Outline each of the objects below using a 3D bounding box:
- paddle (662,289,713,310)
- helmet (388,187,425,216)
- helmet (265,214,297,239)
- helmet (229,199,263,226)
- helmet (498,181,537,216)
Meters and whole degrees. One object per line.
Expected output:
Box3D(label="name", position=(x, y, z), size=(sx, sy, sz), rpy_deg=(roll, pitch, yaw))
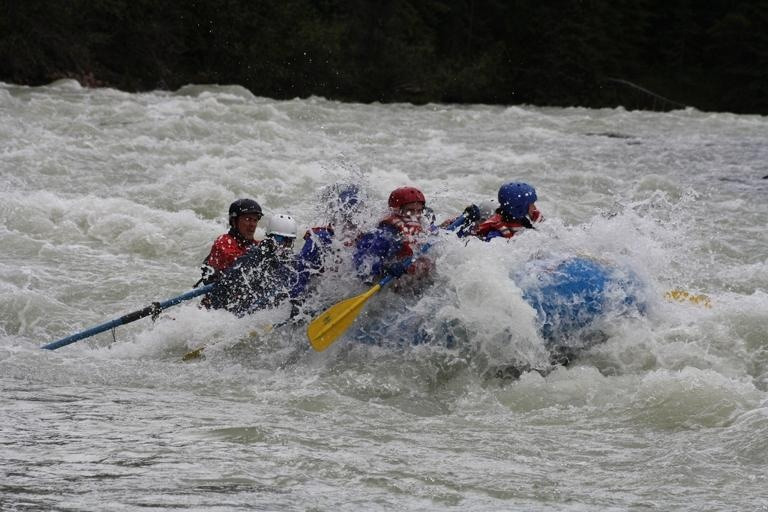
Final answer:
Box3D(label="paddle", position=(4.229, 0.582, 16.661), size=(0.621, 0.124, 0.376), rpy_deg=(10, 27, 5))
Box3D(label="helmet", position=(0.356, -0.755, 16.570), size=(0.513, 0.317, 0.332), rpy_deg=(5, -6, 10))
Box3D(label="helmet", position=(-1.462, -0.411, 17.370), size=(0.369, 0.292, 0.412), rpy_deg=(7, 14, -32))
Box3D(label="helmet", position=(-2.079, -0.648, 17.596), size=(0.373, 0.318, 0.460), rpy_deg=(1, 2, -44))
Box3D(label="helmet", position=(2.042, -0.810, 17.195), size=(0.687, 0.499, 0.481), rpy_deg=(2, 21, 32))
